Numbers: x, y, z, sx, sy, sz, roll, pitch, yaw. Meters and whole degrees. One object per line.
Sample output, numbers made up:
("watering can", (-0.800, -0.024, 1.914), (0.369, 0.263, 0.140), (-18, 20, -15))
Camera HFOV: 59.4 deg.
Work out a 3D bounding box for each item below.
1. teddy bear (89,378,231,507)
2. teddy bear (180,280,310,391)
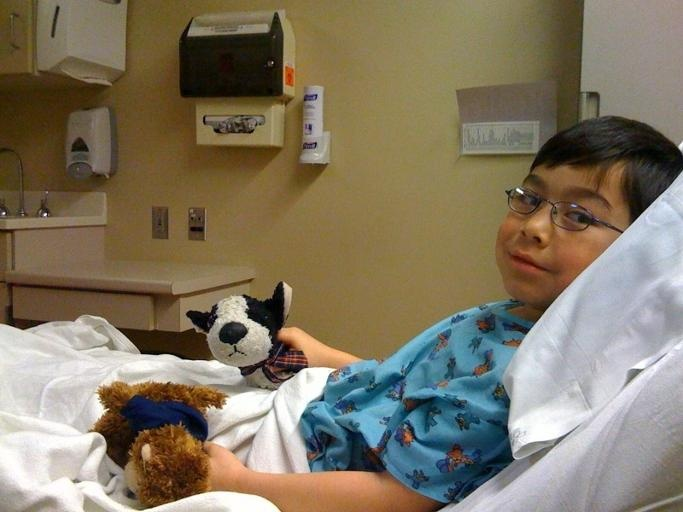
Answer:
("teddy bear", (-0.356, 0.320, 1.174), (0.193, 0.147, 0.246), (22, 5, -35))
("teddy bear", (-0.224, 0.225, 1.513), (0.261, 0.257, 0.273), (-12, -14, 27))
